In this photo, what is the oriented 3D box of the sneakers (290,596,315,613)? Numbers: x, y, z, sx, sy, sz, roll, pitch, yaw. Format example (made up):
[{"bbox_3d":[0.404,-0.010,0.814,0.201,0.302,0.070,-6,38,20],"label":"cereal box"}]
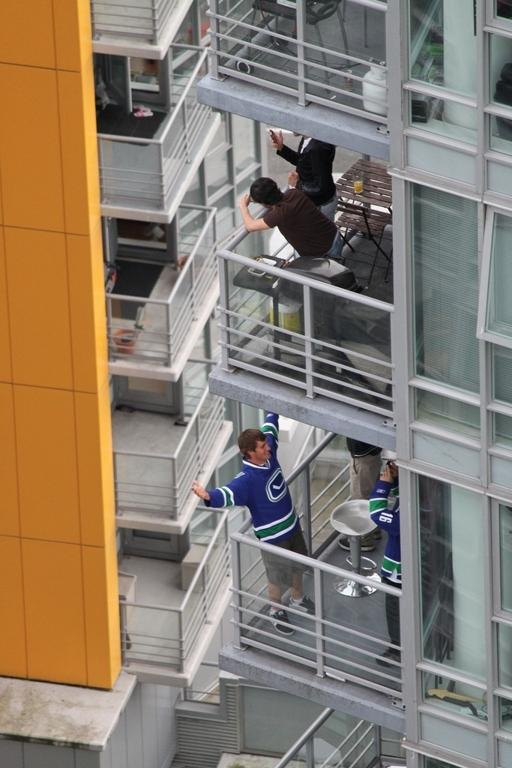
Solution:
[{"bbox_3d":[0.475,2.275,25.968,0.314,0.127,0.107,19,18,24],"label":"sneakers"}]

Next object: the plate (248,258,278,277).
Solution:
[{"bbox_3d":[0.011,-1.089,24.815,0.296,0.184,0.107,13,27,40],"label":"plate"}]

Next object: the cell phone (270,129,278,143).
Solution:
[{"bbox_3d":[0.153,-2.426,25.716,0.040,0.172,0.047,-25,13,5],"label":"cell phone"}]

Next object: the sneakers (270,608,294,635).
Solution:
[{"bbox_3d":[0.235,2.463,26.099,0.145,0.145,0.361,-16,40,-25],"label":"sneakers"}]

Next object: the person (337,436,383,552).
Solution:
[{"bbox_3d":[1.106,1.208,26.411,0.415,1.431,0.406,20,44,20],"label":"person"}]

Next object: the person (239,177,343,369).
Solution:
[{"bbox_3d":[0.338,-0.984,24.751,0.788,1.758,0.616,-9,56,25],"label":"person"}]

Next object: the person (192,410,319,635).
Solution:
[{"bbox_3d":[0.047,1.513,26.079,1.100,2.116,1.294,1,6,3],"label":"person"}]

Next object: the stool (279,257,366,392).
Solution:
[{"bbox_3d":[0.625,-0.504,24.407,0.688,1.161,0.615,25,49,34],"label":"stool"}]

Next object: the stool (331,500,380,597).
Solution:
[{"bbox_3d":[1.043,1.720,26.056,0.478,0.886,0.547,-5,35,8],"label":"stool"}]

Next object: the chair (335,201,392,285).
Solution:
[{"bbox_3d":[1.099,-1.361,25.809,0.517,0.744,0.547,14,54,24],"label":"chair"}]

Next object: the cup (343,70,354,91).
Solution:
[{"bbox_3d":[0.840,-2.738,23.467,0.109,0.191,0.102,0,6,0],"label":"cup"}]
